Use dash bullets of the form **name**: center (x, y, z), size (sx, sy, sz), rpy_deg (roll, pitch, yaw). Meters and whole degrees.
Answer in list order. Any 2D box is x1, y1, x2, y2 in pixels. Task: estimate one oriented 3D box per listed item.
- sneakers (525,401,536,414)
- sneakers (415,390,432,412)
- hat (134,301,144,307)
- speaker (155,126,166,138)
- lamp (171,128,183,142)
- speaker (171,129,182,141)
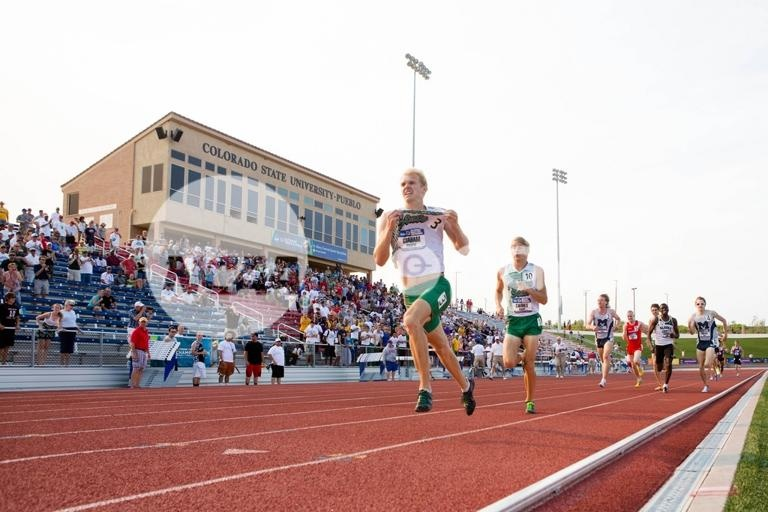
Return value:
- **sneakers**: center (2.281, 2.354, 9.752), size (0.156, 0.198, 0.465), rpy_deg (-3, -18, 11)
- **sneakers**: center (0.456, 1.688, 7.310), size (0.176, 0.250, 0.316), rpy_deg (1, -11, 6)
- **hat**: center (-8.205, 1.592, 20.865), size (0.234, 0.079, 0.240), rpy_deg (-6, -6, 18)
- **speaker**: center (-12.056, -6.636, 33.715), size (0.781, 0.650, 0.181), rpy_deg (-5, -13, 30)
- **lamp**: center (-11.302, -6.580, 33.870), size (0.562, 0.758, 0.406), rpy_deg (18, 15, -29)
- **speaker**: center (-11.253, -6.534, 33.852), size (0.153, 0.566, 0.598), rpy_deg (17, 10, 22)
